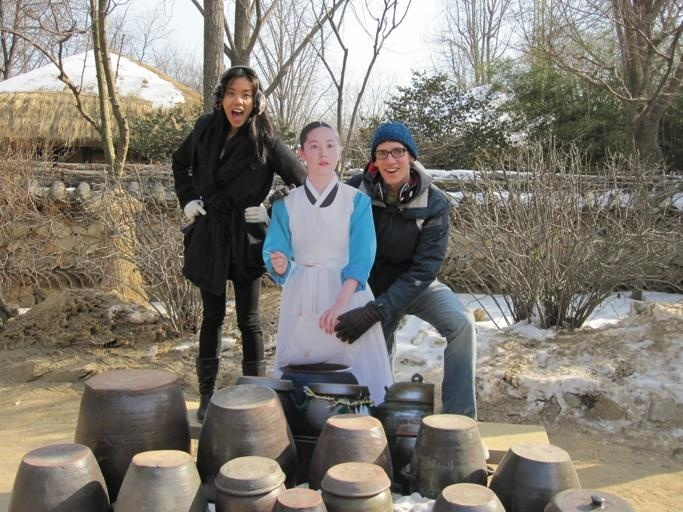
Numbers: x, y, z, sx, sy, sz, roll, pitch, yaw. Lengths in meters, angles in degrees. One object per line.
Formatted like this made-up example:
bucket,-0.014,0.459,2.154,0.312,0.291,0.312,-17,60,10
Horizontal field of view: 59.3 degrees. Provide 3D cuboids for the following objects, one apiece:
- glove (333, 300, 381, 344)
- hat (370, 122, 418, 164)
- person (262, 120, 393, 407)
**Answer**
glove,0.106,0.372,3.771,0.297,0.133,0.180,-14,12,-6
hat,0.386,-0.832,4.262,0.277,0.221,0.281,-2,-5,5
person,-0.079,0.034,3.849,0.872,1.770,0.433,2,5,4
